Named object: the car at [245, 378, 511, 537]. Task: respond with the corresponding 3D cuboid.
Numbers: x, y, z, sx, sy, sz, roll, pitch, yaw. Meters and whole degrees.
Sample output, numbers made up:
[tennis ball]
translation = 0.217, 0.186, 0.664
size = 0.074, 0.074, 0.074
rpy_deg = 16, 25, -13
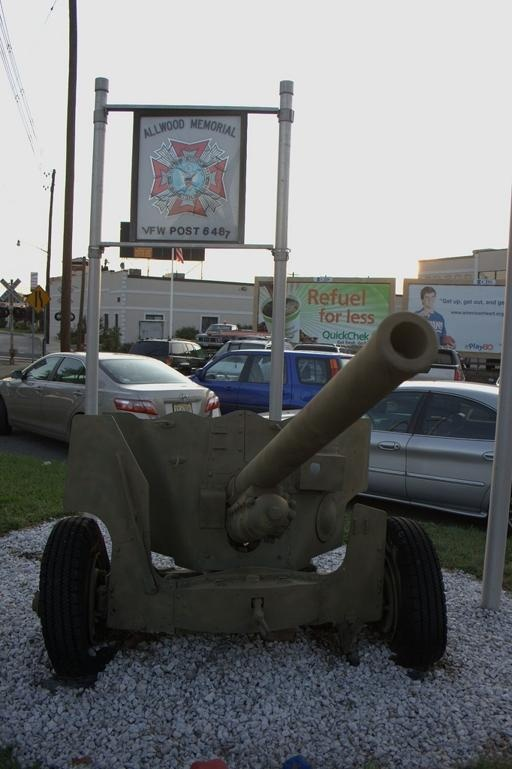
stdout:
[car]
translation = 1.181, 0.473, 6.082
size = 1.873, 0.938, 1.147
rpy_deg = 9, 1, 19
